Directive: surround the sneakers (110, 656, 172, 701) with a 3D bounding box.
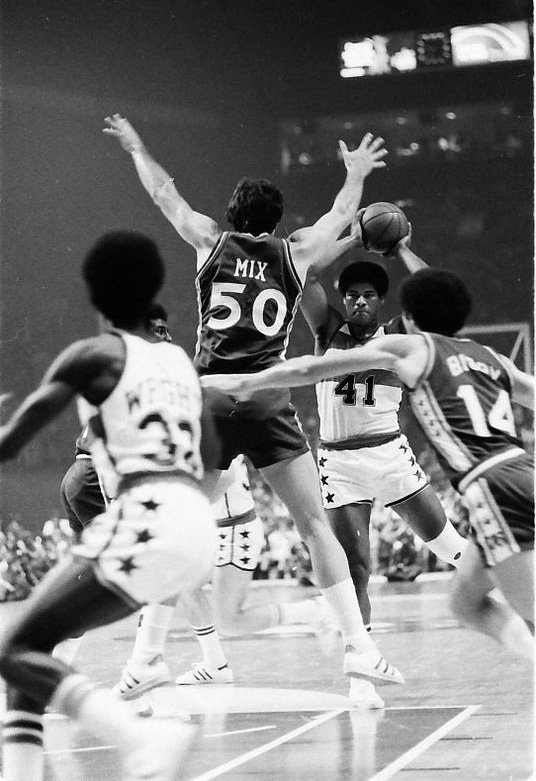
[{"bbox_3d":[-0.470,1.102,3.686,0.294,0.123,0.096,-29,14,32],"label":"sneakers"}]

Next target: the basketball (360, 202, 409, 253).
[{"bbox_3d":[0.547,-0.736,4.545,0.194,0.172,0.183,20,10,24],"label":"basketball"}]

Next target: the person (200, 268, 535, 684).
[{"bbox_3d":[0.489,0.240,3.142,0.819,1.285,0.390,-2,-7,0],"label":"person"}]

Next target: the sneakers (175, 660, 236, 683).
[{"bbox_3d":[-0.292,1.311,4.478,0.267,0.090,0.102,0,-11,9],"label":"sneakers"}]
